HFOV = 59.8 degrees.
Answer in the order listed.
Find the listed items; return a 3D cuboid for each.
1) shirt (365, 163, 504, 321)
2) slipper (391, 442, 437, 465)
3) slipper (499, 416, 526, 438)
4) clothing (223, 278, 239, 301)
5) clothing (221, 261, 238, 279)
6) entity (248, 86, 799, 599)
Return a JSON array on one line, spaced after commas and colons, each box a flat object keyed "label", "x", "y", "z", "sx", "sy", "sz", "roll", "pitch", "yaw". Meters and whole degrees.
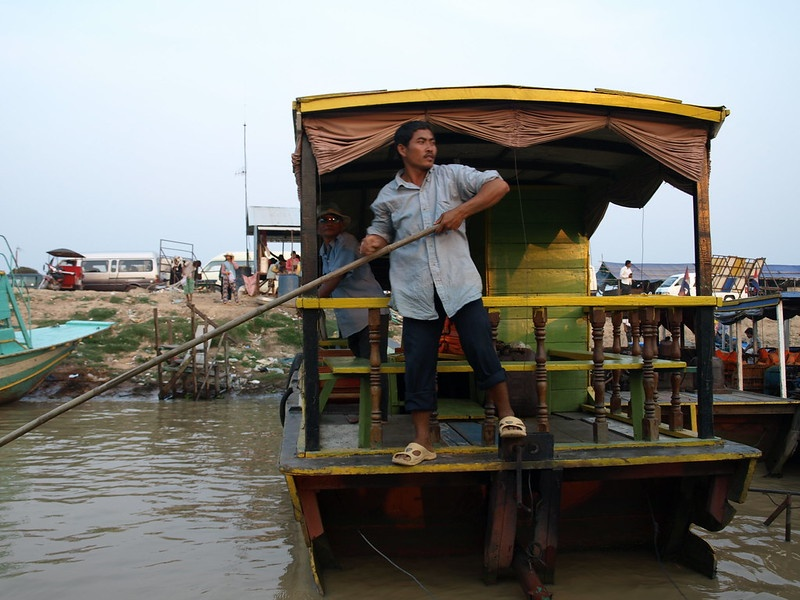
[{"label": "shirt", "x": 0.263, "y": -0.494, "z": 5.801, "sx": 1.363, "sy": 1.270, "sz": 0.794, "roll": -9, "pitch": -3, "yaw": 21}, {"label": "slipper", "x": 0.124, "y": 1.247, "z": 5.664, "sx": 0.357, "sy": 0.122, "sz": 0.139, "roll": 3, "pitch": -10, "yaw": -39}, {"label": "slipper", "x": 0.909, "y": 1.014, "z": 5.584, "sx": 0.217, "sy": 0.167, "sz": 0.116, "roll": 0, "pitch": 2, "yaw": 5}, {"label": "clothing", "x": -6.320, "y": -0.446, "z": 25.751, "sx": 0.519, "sy": 0.967, "sz": 0.972, "roll": 0, "pitch": 2, "yaw": -16}, {"label": "clothing", "x": -6.262, "y": -1.059, "z": 25.424, "sx": 0.446, "sy": 0.628, "sz": 0.388, "roll": 0, "pitch": 2, "yaw": -18}, {"label": "entity", "x": 0.762, "y": 0.307, "z": 8.837, "sx": 3.862, "sy": 3.656, "sz": 6.492, "roll": -1, "pitch": 0, "yaw": -6}]
